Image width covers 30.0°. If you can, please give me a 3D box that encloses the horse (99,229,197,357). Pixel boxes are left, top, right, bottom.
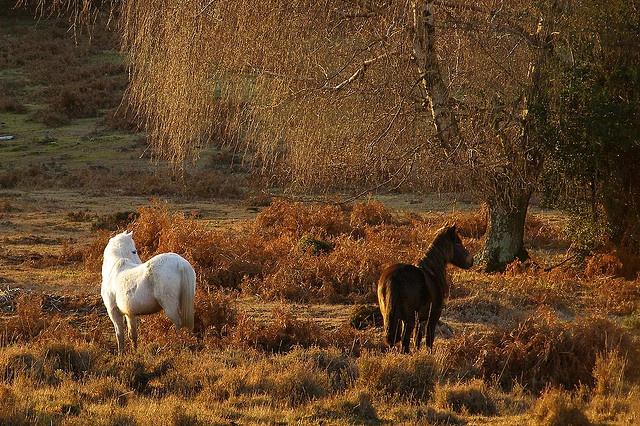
[{"bbox_3d":[-5.365,2.475,35.180,3.824,4.097,1.555,-2,2,34],"label":"horse"}]
